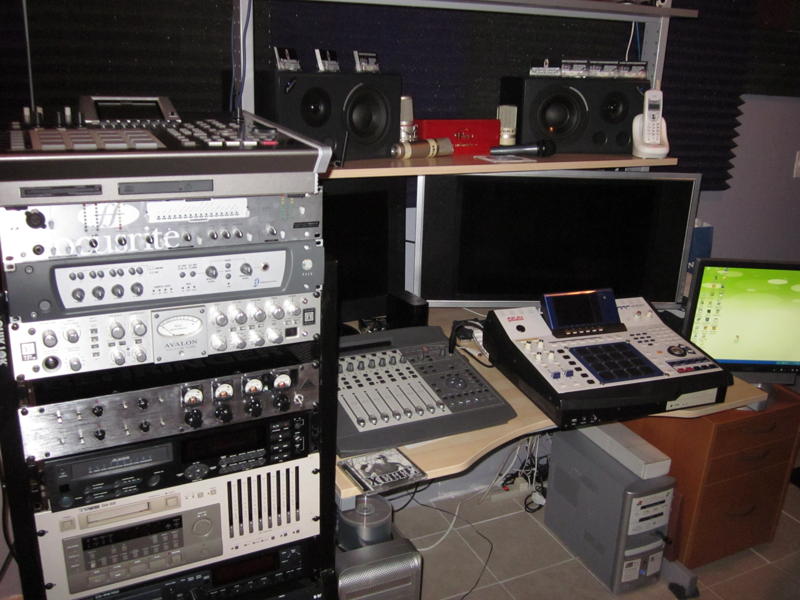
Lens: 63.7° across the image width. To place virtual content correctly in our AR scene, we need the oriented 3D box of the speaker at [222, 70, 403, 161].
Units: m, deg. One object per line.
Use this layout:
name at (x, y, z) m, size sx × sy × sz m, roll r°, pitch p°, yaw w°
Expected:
speaker at (-0.260, -0.546, 1.891) m, size 0.395 × 0.238 × 0.206 m, roll -7°, pitch 30°, yaw -26°

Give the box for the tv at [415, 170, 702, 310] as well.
tv at (0.624, -0.232, 2.516) m, size 1.102 × 0.557 × 0.034 m, roll -6°, pitch 18°, yaw -5°

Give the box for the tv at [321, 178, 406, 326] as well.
tv at (-0.108, -0.194, 2.416) m, size 0.335 × 0.523 × 0.086 m, roll -17°, pitch 21°, yaw -33°

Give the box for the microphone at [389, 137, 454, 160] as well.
microphone at (0.089, -0.530, 2.270) m, size 0.262 × 0.077 × 0.077 m, roll -9°, pitch -8°, yaw -27°
